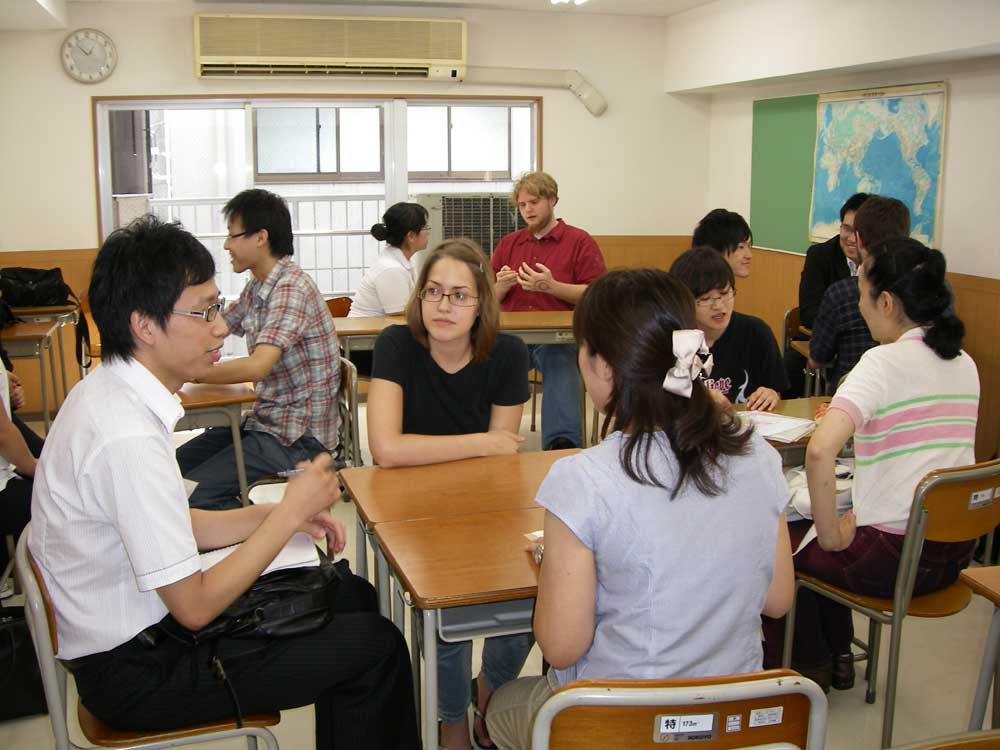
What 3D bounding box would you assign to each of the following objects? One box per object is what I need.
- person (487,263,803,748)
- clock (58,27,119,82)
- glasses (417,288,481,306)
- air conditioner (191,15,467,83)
[{"bbox_3d":[0.319,0.238,1.513,0.494,0.873,0.301,1,11,18],"label":"person"},{"bbox_3d":[-3.305,-2.573,6.353,0.373,0.430,0.402,-1,1,5],"label":"clock"},{"bbox_3d":[-0.171,-0.262,2.575,0.183,0.065,0.059,-3,11,-1],"label":"glasses"},{"bbox_3d":[-1.375,-2.793,6.511,2.243,0.603,0.433,-8,38,-21],"label":"air conditioner"}]
